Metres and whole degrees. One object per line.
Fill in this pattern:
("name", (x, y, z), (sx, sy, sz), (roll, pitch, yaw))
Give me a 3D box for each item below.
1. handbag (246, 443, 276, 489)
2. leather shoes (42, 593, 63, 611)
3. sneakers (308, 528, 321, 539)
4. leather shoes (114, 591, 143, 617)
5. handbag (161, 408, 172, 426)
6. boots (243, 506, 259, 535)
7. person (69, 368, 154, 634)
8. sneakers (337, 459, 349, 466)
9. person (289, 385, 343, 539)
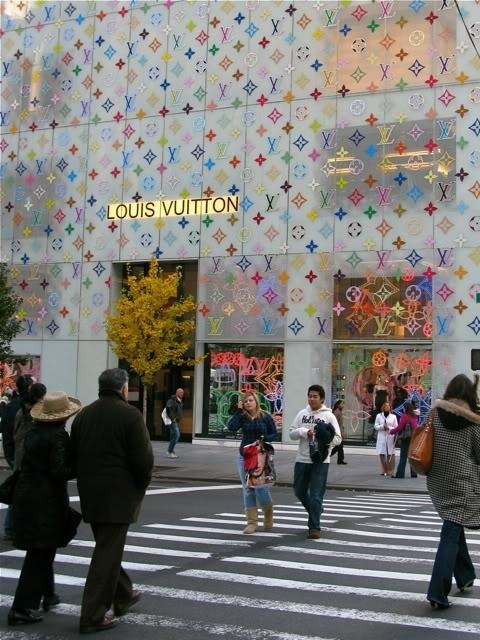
("handbag", (0.196, 1.833, 9.283), (0.464, 0.570, 0.304), (-4, 5, -6))
("leather shoes", (-1.346, 2.034, 5.182), (0.066, 0.096, 0.141), (8, 25, 16))
("sneakers", (0.886, 2.550, 8.609), (0.166, 0.117, 0.140), (2, -4, -3))
("leather shoes", (-0.768, 1.975, 5.021), (0.076, 0.092, 0.221), (17, 42, 26))
("handbag", (-2.101, 2.832, 21.054), (0.280, 0.519, 1.009), (3, -4, -4))
("boots", (0.135, 2.551, 9.172), (0.148, 0.283, 0.442), (2, -4, 1))
("person", (-0.861, 1.160, 4.880), (0.545, 1.642, 0.634), (4, -4, -15))
("sneakers", (2.938, 4.087, 20.687), (0.323, 0.236, 0.112), (-2, 6, -28))
("person", (0.917, 1.761, 9.052), (0.646, 1.865, 0.927), (2, -4, 7))
